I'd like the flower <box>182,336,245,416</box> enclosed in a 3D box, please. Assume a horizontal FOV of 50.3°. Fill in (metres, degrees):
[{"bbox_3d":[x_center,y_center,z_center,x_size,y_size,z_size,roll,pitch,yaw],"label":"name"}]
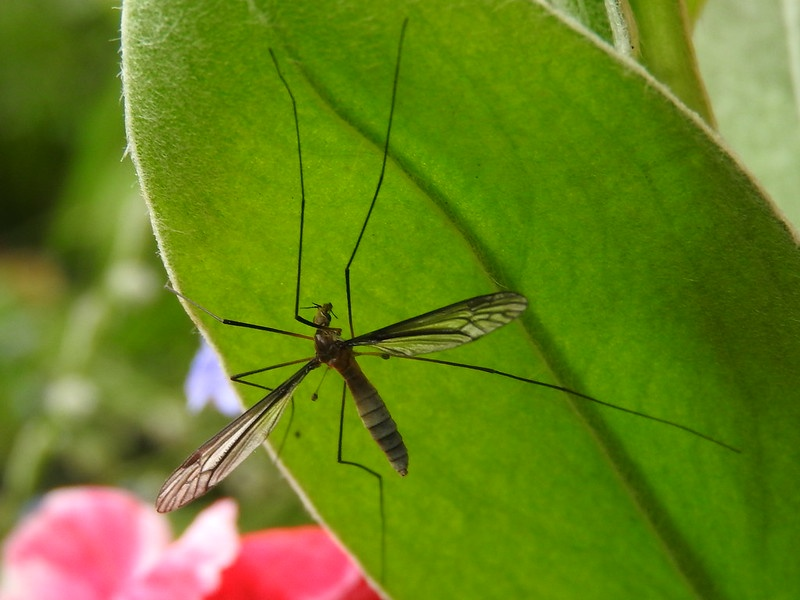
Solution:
[{"bbox_3d":[-0.192,0.083,0.874,0.081,0.085,0.025,10,32,21],"label":"flower"}]
